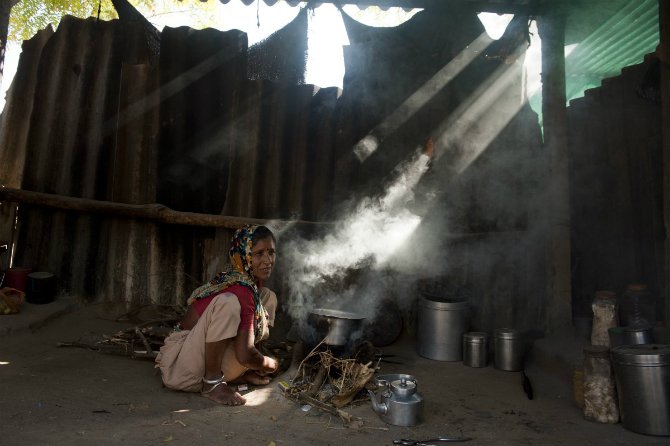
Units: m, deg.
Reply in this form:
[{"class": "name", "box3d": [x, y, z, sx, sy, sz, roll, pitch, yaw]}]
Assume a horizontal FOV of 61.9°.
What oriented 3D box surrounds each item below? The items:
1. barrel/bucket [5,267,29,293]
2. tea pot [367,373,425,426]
[{"class": "barrel/bucket", "box3d": [-4.601, 0.811, 8.185, 0.338, 0.363, 0.334, 6, 4, 0]}, {"class": "tea pot", "box3d": [0.644, 1.951, 6.280, 0.577, 0.510, 0.645, 9, -10, -19]}]
